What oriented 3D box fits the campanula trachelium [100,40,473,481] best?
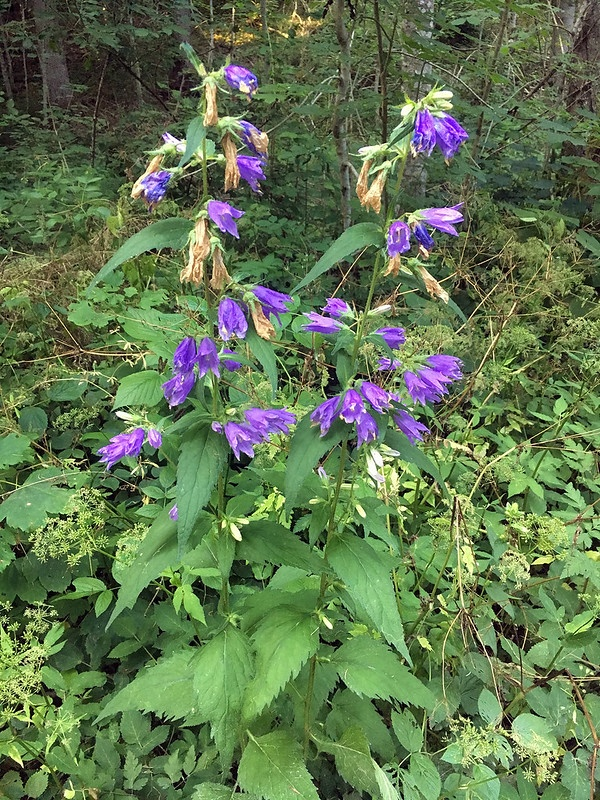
[{"bbox_3d":[-0.067,-0.271,2.082,1.093,1.400,0.633,1,27,-17],"label":"campanula trachelium"}]
